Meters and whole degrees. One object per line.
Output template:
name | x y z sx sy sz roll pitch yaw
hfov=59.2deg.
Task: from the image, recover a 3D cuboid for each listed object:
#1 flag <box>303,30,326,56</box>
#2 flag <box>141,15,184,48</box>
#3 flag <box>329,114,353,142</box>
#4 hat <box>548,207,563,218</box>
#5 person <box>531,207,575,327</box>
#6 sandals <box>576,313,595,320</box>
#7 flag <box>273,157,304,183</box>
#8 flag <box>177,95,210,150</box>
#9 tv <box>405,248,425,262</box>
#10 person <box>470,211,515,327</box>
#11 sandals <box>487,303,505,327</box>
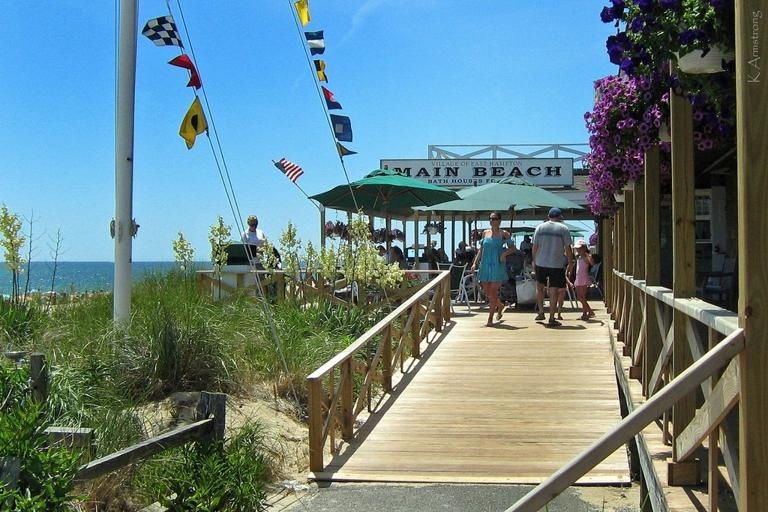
flag | -1.071 -3.297 10.432 0.252 0.423 0.761 -4 9 -7
flag | -2.645 -2.661 8.064 0.421 0.360 0.172 -1 9 13
flag | -0.694 -2.107 11.113 0.294 0.406 0.377 -5 9 -10
hat | 2.694 -0.679 10.656 0.175 0.134 0.268 -2 9 8
person | 2.660 0.189 10.912 0.557 1.925 0.744 -4 8 -7
sandals | 3.503 1.060 11.762 0.323 0.166 0.120 4 -2 -1
flag | -1.882 -1.706 13.289 0.483 0.438 0.885 -5 9 -10
flag | -2.292 -1.597 8.085 0.315 0.603 0.348 -8 10 -31
tv | 1.035 0.040 21.824 0.709 0.569 0.413 0 -4 -2
person | 1.874 0.222 11.511 0.682 1.993 1.427 -2 9 9
sandals | 1.903 1.032 11.516 0.190 0.317 0.687 -4 -21 8
